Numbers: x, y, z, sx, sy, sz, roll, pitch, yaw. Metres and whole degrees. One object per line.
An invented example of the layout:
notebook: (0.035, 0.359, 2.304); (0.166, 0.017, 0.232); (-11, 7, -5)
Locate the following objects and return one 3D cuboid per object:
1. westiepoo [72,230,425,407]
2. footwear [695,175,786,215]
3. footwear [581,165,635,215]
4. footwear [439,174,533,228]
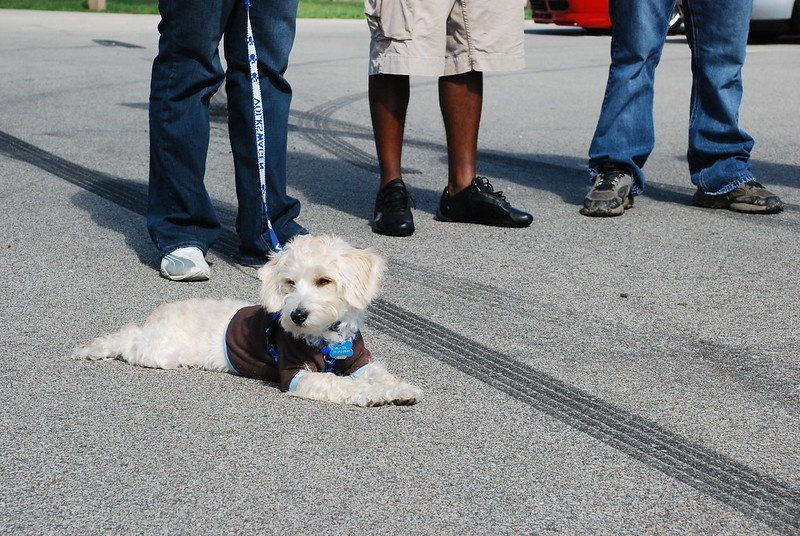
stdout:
westiepoo: (-0.641, 0.123, 3.024); (1.392, 0.650, 0.681); (11, 12, 23)
footwear: (2.382, -0.510, 5.001); (0.569, 0.265, 0.240); (6, 9, 30)
footwear: (1.512, -0.585, 5.132); (0.303, 0.351, 0.731); (6, 20, 30)
footwear: (0.510, -0.448, 4.783); (0.723, 0.325, 0.268); (4, 11, 8)
